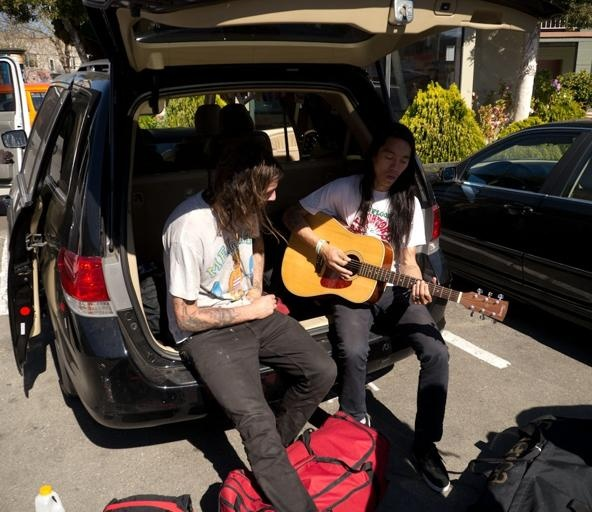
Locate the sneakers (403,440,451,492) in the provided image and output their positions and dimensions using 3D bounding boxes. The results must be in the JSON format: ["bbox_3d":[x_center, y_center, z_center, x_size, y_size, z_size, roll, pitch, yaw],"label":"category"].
[{"bbox_3d":[0.668,1.020,2.335,0.101,0.118,0.300,-14,52,-15],"label":"sneakers"}]

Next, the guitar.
[{"bbox_3d":[0.526,0.136,2.716,1.354,0.671,0.194,20,4,28],"label":"guitar"}]

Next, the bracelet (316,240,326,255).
[{"bbox_3d":[0.138,-0.056,2.666,0.027,0.083,0.057,20,18,23],"label":"bracelet"}]
